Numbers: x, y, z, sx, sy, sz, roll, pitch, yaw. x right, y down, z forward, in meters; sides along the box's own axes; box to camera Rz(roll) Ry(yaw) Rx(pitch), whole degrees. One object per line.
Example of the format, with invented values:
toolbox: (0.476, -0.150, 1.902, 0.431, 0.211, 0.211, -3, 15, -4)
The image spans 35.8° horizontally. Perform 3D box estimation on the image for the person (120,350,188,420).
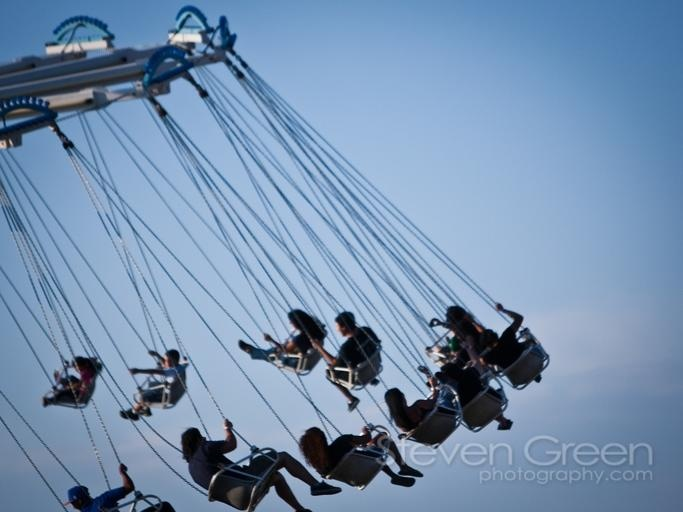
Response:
person: (-2.682, 1.811, 14.808, 0.806, 1.043, 0.564, 3, 11, -1)

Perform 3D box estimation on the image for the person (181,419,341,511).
person: (-1.131, 2.581, 12.769, 1.395, 1.354, 0.819, -11, -10, -20)
